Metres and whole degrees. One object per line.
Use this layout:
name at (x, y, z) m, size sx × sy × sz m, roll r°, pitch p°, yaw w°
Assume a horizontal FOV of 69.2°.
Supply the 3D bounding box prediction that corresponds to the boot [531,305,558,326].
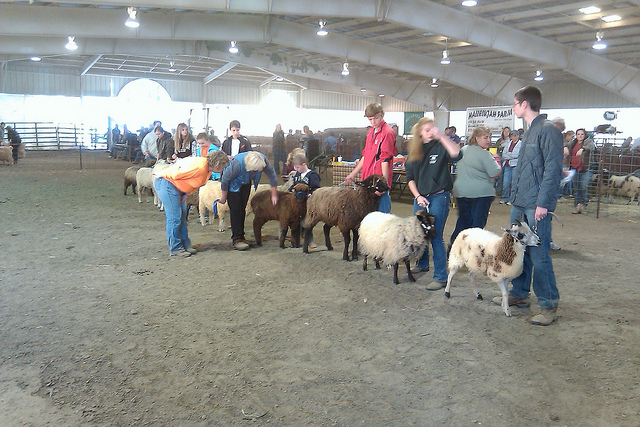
boot at (2.919, 1.322, 5.999) m, size 0.413 × 0.193 × 0.148 m, roll -3°, pitch 1°, yaw -34°

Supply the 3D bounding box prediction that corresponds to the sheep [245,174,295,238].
sheep at (-0.811, 0.026, 9.327) m, size 0.494 × 1.103 × 1.907 m, roll 2°, pitch -4°, yaw -40°

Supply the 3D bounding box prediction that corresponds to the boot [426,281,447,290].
boot at (1.695, 1.059, 6.777) m, size 0.296 × 0.087 × 0.107 m, roll 1°, pitch -6°, yaw -19°

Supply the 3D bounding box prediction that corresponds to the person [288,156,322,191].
person at (-0.293, -0.674, 8.505) m, size 0.550 × 0.805 × 0.800 m, roll -8°, pitch 8°, yaw -26°

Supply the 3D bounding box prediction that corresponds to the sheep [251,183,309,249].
sheep at (-0.667, 0.024, 8.508) m, size 1.472 × 1.187 × 0.481 m, roll 4°, pitch 5°, yaw 38°

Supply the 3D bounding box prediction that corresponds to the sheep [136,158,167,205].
sheep at (-4.309, -0.819, 11.761) m, size 0.584 × 1.214 × 1.849 m, roll -4°, pitch 13°, yaw -27°

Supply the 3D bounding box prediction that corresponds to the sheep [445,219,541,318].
sheep at (2.298, 0.662, 6.272) m, size 0.590 × 1.269 × 1.333 m, roll -9°, pitch 14°, yaw -37°

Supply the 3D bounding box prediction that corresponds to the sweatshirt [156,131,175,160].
sweatshirt at (-3.841, -1.687, 11.542) m, size 0.359 × 0.675 × 0.733 m, roll -3°, pitch 12°, yaw -22°

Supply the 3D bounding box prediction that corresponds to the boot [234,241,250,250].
boot at (-1.415, 0.581, 8.308) m, size 0.244 × 0.139 × 0.099 m, roll -1°, pitch 11°, yaw -12°

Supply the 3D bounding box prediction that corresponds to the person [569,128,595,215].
person at (6.931, -1.172, 12.408) m, size 0.618 × 2.142 × 1.543 m, roll 8°, pitch 13°, yaw 29°

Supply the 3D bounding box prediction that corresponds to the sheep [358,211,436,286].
sheep at (1.167, 0.450, 7.067) m, size 0.741 × 1.164 × 1.445 m, roll -9°, pitch 14°, yaw -36°

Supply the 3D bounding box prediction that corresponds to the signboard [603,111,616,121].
signboard at (10.693, -3.610, 17.141) m, size 0.351 × 0.306 × 1.858 m, roll 9°, pitch 13°, yaw 31°

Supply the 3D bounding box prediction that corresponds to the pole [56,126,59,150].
pole at (-18.335, -5.124, 32.405) m, size 0.095 × 1.266 × 0.545 m, roll -5°, pitch 13°, yaw -30°

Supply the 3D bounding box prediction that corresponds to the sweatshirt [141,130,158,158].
sweatshirt at (-4.521, -1.834, 12.273) m, size 0.358 × 0.737 × 0.774 m, roll -3°, pitch 12°, yaw -23°

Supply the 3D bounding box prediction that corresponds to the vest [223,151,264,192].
vest at (-1.527, -0.718, 8.253) m, size 0.345 × 0.584 × 0.586 m, roll 2°, pitch 12°, yaw -22°

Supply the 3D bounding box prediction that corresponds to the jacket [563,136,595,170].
jacket at (7.029, -1.592, 12.463) m, size 0.782 × 0.772 × 0.577 m, roll -5°, pitch 13°, yaw -29°

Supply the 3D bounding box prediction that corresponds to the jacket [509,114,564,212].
jacket at (2.783, -0.656, 5.939) m, size 0.362 × 1.201 × 0.576 m, roll -3°, pitch 12°, yaw -22°

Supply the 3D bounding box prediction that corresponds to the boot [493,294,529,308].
boot at (2.600, 1.164, 6.354) m, size 0.455 × 0.196 × 0.167 m, roll 5°, pitch 5°, yaw 23°

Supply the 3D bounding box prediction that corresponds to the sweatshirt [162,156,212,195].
sweatshirt at (-2.154, -0.606, 7.619) m, size 0.544 × 0.320 × 0.685 m, roll -18°, pitch 7°, yaw -42°

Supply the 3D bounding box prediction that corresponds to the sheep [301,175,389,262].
sheep at (0.450, 0.074, 7.913) m, size 1.737 × 1.383 × 0.677 m, roll 5°, pitch 6°, yaw 42°

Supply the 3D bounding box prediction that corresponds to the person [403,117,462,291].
person at (1.593, -0.140, 6.743) m, size 0.767 × 2.448 × 0.501 m, roll 5°, pitch 11°, yaw 16°

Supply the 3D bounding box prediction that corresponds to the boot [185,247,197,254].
boot at (-2.243, 0.654, 8.088) m, size 0.140 × 0.060 × 0.080 m, roll 18°, pitch 9°, yaw 14°

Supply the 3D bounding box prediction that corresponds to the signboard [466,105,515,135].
signboard at (7.234, -4.000, 19.913) m, size 1.933 × 1.169 × 1.525 m, roll 5°, pitch 12°, yaw 17°
